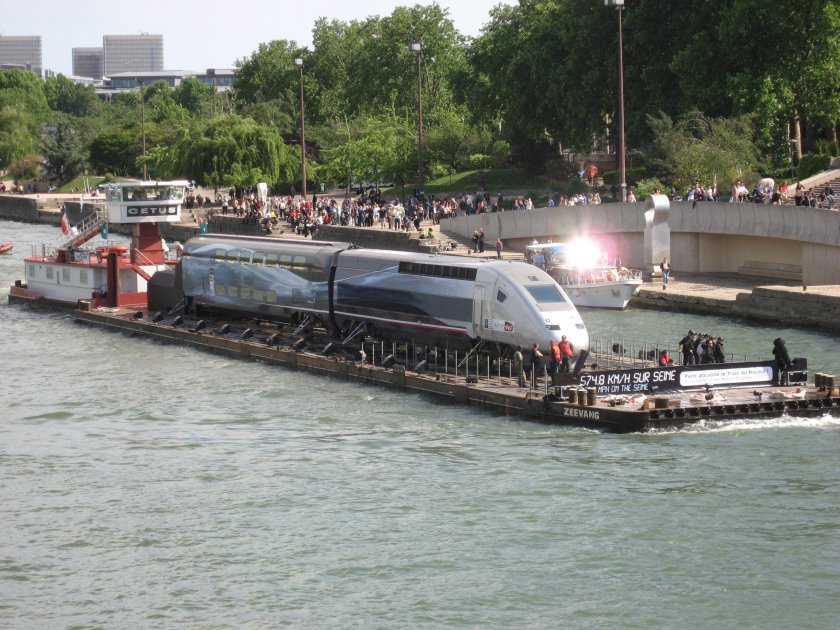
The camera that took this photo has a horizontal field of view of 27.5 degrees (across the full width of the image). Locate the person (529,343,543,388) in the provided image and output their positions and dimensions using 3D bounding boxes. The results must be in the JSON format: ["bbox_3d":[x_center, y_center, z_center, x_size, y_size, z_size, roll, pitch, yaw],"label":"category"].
[{"bbox_3d":[4.764,2.036,69.662,0.528,1.544,1.580,2,-1,4],"label":"person"}]

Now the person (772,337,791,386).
[{"bbox_3d":[14.415,1.826,68.363,0.600,1.607,0.888,2,-1,42],"label":"person"}]

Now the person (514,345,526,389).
[{"bbox_3d":[4.116,2.118,70.217,0.510,1.429,1.368,2,-1,2],"label":"person"}]

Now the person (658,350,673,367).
[{"bbox_3d":[9.945,1.762,69.503,0.485,0.715,0.290,9,35,28],"label":"person"}]
